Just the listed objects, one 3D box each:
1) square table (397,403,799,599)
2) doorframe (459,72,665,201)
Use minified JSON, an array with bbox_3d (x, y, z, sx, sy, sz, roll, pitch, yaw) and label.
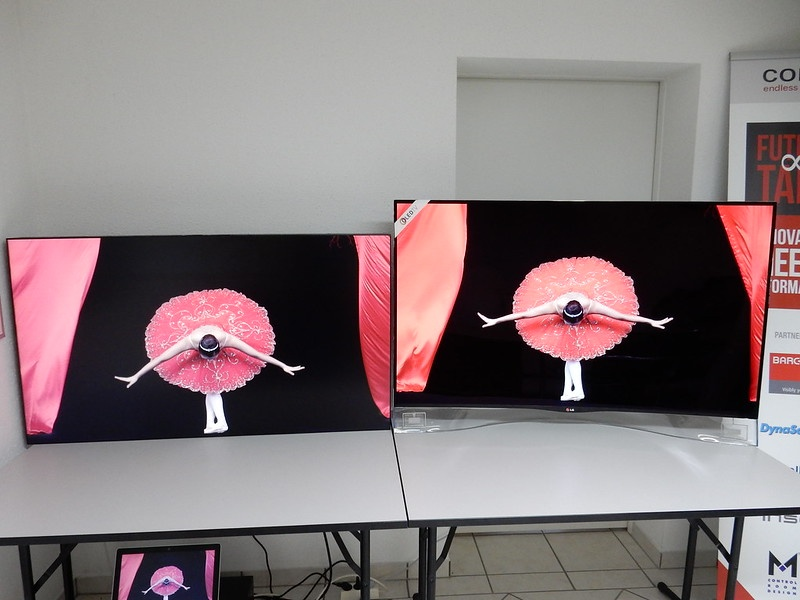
[{"bbox_3d":[0.731,0.665,2.778,1.396,0.733,0.755,0,30,-2],"label":"square table"},{"bbox_3d":[0.770,-0.788,3.445,1.008,0.590,0.021,-2,5,-4],"label":"doorframe"}]
